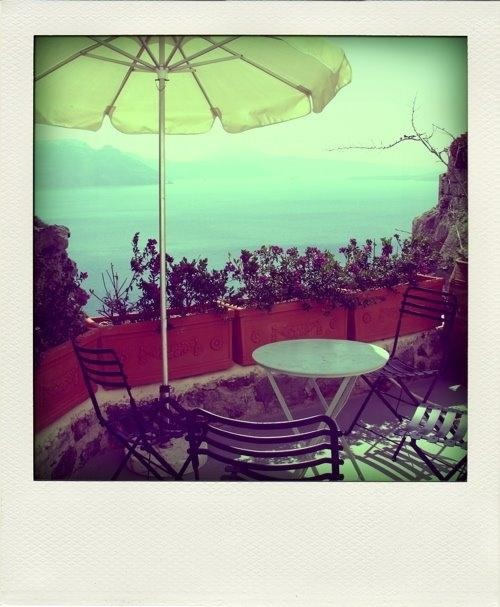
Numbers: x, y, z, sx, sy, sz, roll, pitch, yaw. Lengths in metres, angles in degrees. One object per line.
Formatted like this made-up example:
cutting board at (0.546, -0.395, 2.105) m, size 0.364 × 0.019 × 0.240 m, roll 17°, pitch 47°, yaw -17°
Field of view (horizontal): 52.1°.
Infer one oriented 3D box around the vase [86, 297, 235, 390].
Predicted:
vase at (-0.621, 0.074, 3.692) m, size 0.937 × 0.447 × 0.531 m, roll -5°, pitch 8°, yaw -34°

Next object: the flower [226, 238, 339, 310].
flower at (0.262, -0.235, 3.940) m, size 0.727 × 0.340 × 0.490 m, roll 0°, pitch 6°, yaw -22°

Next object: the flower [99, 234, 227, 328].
flower at (-0.607, -0.176, 3.742) m, size 0.821 × 0.413 × 0.526 m, roll -11°, pitch 4°, yaw -7°

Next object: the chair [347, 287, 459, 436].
chair at (1.115, 0.423, 3.825) m, size 0.598 × 1.203 × 0.797 m, roll 24°, pitch 25°, yaw 38°

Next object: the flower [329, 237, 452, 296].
flower at (1.169, -0.365, 4.328) m, size 0.770 × 0.347 × 0.512 m, roll -5°, pitch 16°, yaw -19°
